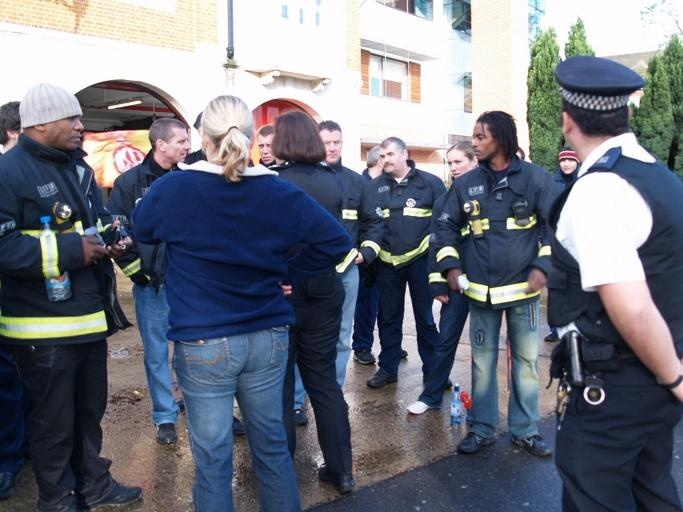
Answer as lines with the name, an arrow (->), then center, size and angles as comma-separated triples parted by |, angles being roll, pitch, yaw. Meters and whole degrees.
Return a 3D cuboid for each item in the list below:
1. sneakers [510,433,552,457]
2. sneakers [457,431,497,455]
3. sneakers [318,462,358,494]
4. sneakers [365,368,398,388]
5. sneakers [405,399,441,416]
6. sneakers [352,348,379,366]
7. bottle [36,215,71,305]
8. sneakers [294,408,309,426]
sneakers -> 1.472, 1.465, 4.843 | 0.112, 0.118, 0.288 | -7, 9, -42
sneakers -> 1.073, 1.469, 4.866 | 0.337, 0.138, 0.122 | 3, -3, -36
sneakers -> -0.053, 1.528, 4.342 | 0.117, 0.204, 0.300 | -18, 40, -34
sneakers -> 0.398, 1.239, 6.223 | 0.133, 0.143, 0.344 | -3, -6, 41
sneakers -> 0.728, 1.345, 5.518 | 0.312, 0.112, 0.111 | -1, 25, -21
sneakers -> 0.259, 1.151, 6.966 | 0.108, 0.113, 0.292 | 1, -4, -39
bottle -> -1.723, 0.022, 3.735 | 0.144, 0.522, 0.165 | -5, 12, -26
sneakers -> -0.353, 1.396, 5.337 | 0.093, 0.079, 0.192 | 2, -8, -20
